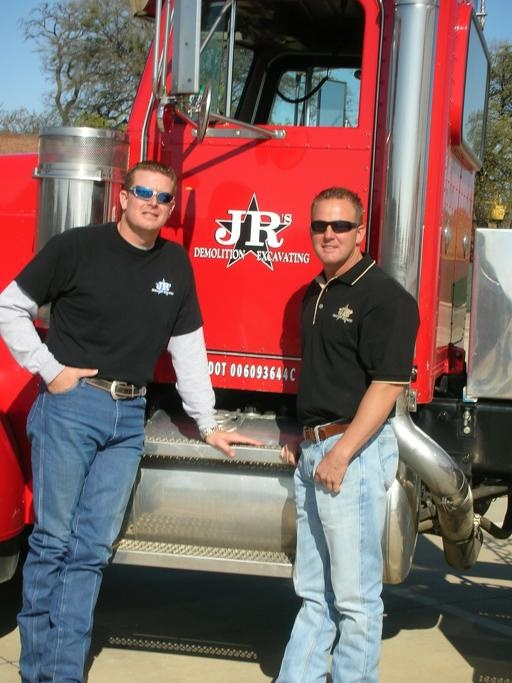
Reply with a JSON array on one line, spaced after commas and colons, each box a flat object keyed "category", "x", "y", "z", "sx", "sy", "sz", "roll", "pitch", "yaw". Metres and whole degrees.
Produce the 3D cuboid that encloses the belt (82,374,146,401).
[{"category": "belt", "x": -0.489, "y": 0.172, "z": 2.335, "sx": 0.104, "sy": 0.048, "sz": 0.112, "roll": 30, "pitch": -16, "yaw": -30}]
